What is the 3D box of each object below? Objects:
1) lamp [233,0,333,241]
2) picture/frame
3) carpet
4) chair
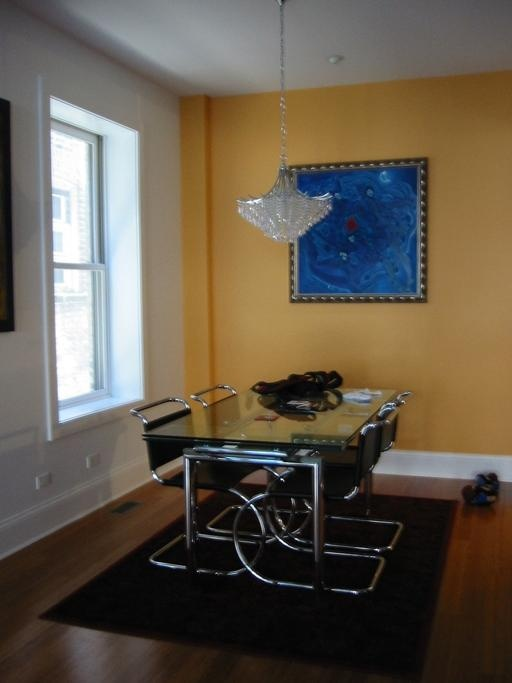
[{"bbox_3d":[0.206,-1.207,3.442,0.667,0.920,1.739,-1,0,-1],"label":"lamp"},{"bbox_3d":[0.773,-0.795,3.867,1.097,1.128,0.081,1,4,18],"label":"picture/frame"},{"bbox_3d":[0.105,1.017,2.561,1.452,0.030,1.631,-1,0,22],"label":"carpet"},{"bbox_3d":[0.036,0.592,2.530,0.891,0.599,1.156,1,6,20],"label":"chair"}]
